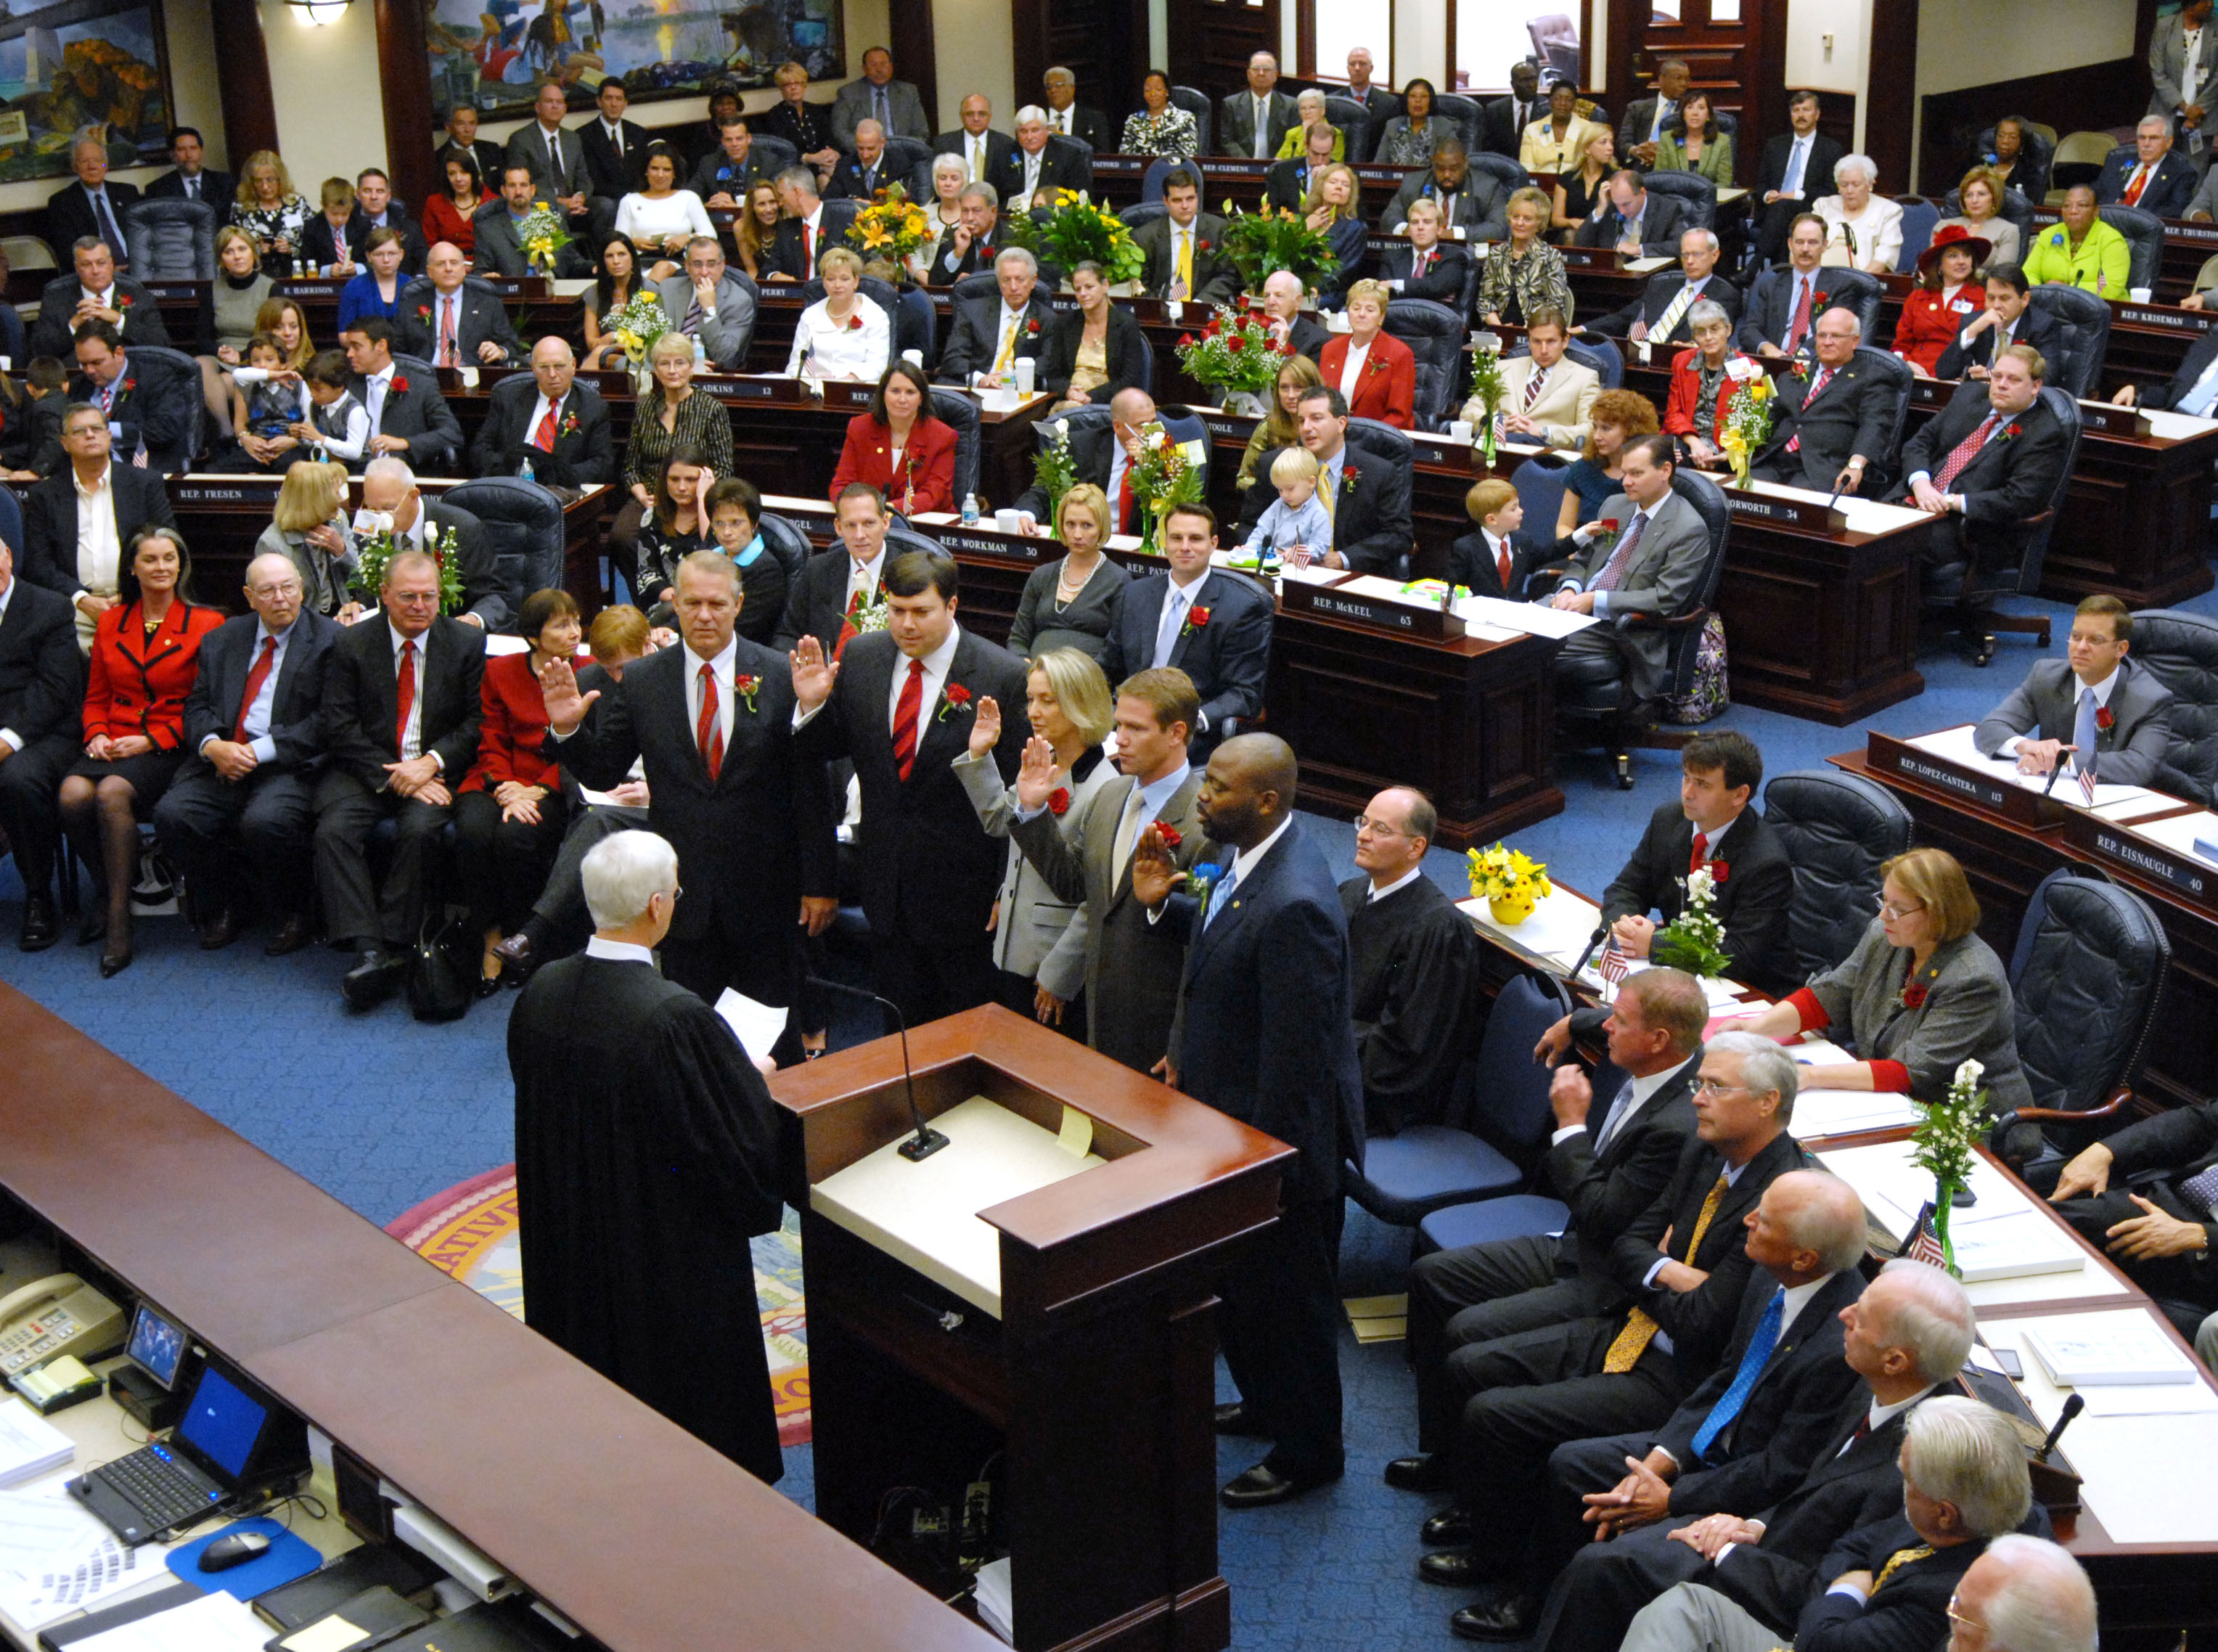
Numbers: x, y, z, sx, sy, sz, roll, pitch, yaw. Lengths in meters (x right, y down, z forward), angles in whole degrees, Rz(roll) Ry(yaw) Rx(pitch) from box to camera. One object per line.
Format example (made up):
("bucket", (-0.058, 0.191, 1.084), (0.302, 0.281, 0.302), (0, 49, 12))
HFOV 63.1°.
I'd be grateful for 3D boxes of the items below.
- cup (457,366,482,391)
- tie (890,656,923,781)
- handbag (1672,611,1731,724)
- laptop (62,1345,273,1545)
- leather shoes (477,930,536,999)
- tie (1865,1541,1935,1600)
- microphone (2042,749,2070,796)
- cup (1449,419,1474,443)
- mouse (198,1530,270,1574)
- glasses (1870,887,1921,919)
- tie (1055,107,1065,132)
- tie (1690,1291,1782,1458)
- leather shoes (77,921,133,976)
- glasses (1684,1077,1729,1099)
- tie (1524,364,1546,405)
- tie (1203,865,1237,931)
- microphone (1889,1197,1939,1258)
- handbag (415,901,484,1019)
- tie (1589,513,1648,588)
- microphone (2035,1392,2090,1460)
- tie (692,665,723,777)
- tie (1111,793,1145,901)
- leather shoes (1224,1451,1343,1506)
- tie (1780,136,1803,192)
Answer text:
("cup", (-4.244, -3.004, 12.000), (0.135, 0.140, 0.101), (1, 5, 1))
("tie", (-0.695, -0.380, 6.313), (0.103, 0.387, 0.098), (5, 18, 14))
("handbag", (3.131, -0.860, 9.528), (0.345, 0.535, 0.324), (-16, 26, -37))
("laptop", (-1.890, 1.236, 3.623), (0.497, 0.319, 0.234), (14, 22, 35))
("leather shoes", (-2.552, 0.569, 7.635), (0.172, 0.223, 0.521), (2, -7, -18))
("tie", (1.630, 1.516, 3.724), (0.081, 0.135, 0.124), (30, 73, 40))
("microphone", (3.560, -0.225, 6.746), (0.069, 0.149, 0.297), (14, 23, 36))
("cup", (2.124, -2.385, 10.819), (0.159, 0.138, 0.175), (-1, 6, 0))
("mouse", (-1.709, 1.400, 3.517), (0.104, 0.028, 0.062), (-23, 35, -23))
("glasses", (2.446, 0.241, 5.579), (0.054, 0.121, 0.133), (-7, 20, -21))
("tie", (-0.468, -7.252, 18.437), (0.106, 0.193, 0.171), (-2, 8, -1))
("tie", (1.514, 1.316, 4.332), (0.204, 0.413, 0.155), (-1, 18, -4))
("leather shoes", (-4.605, 0.547, 8.270), (0.142, 0.205, 0.466), (-2, 8, -34))
("glasses", (1.547, 0.672, 4.615), (0.066, 0.046, 0.066), (-1, 4, -11))
("tie", (2.642, -2.747, 11.156), (0.058, 0.276, 0.070), (13, -27, 21))
("tie", (0.307, 0.184, 4.938), (0.047, 0.138, 0.103), (17, 4, 25))
("microphone", (2.112, 1.047, 4.725), (0.012, 0.102, 0.176), (40, 30, 0))
("handbag", (-2.847, 0.567, 7.756), (0.196, 0.424, 0.418), (7, 7, 15))
("tie", (2.586, -1.401, 9.229), (0.130, 0.504, 0.130), (25, 9, -8))
("microphone", (2.167, 1.360, 4.095), (0.051, 0.200, 0.049), (34, 31, 27))
("tie", (-1.433, -0.391, 6.464), (0.091, 0.376, 0.103), (-2, 18, -8))
("tie", (0.056, 0.044, 5.422), (0.070, 0.251, 0.174), (13, -17, -4))
("leather shoes", (0.499, 1.852, 5.189), (0.332, 0.140, 0.136), (-1, 6, -10))
("tie", (6.054, -5.834, 15.947), (0.269, 0.402, 0.106), (6, -6, 6))
